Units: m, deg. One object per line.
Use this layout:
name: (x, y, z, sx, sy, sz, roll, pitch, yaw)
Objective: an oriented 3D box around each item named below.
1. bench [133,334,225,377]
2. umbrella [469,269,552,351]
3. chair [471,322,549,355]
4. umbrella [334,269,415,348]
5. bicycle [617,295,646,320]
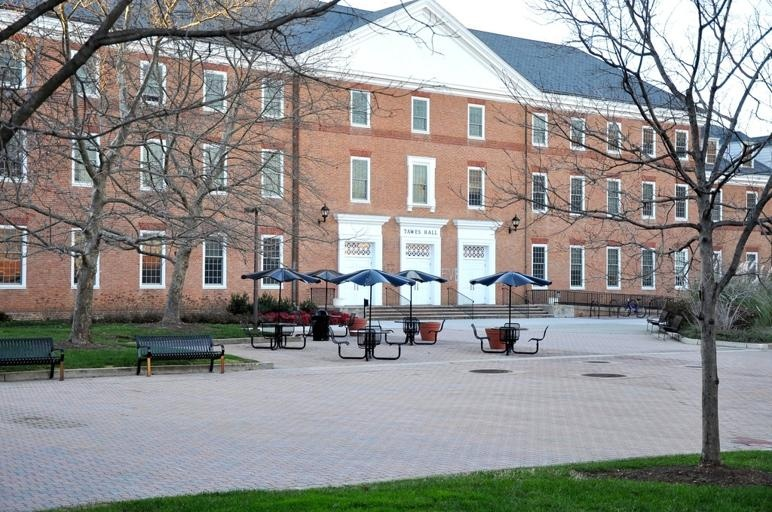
bench: (-5.928, 2.771, 26.005, 2.527, 1.022, 1.367, -1, 4, -33)
umbrella: (4.817, 2.188, 35.037, 3.410, 2.726, 3.236, 0, 3, -21)
chair: (4.508, 3.151, 33.687, 4.083, 1.391, 1.947, 2, -5, -4)
umbrella: (-0.668, 2.334, 40.410, 2.935, 2.333, 2.874, 1, -5, 4)
bicycle: (14.525, 3.040, 54.383, 2.280, 1.338, 1.108, -6, 7, -41)
